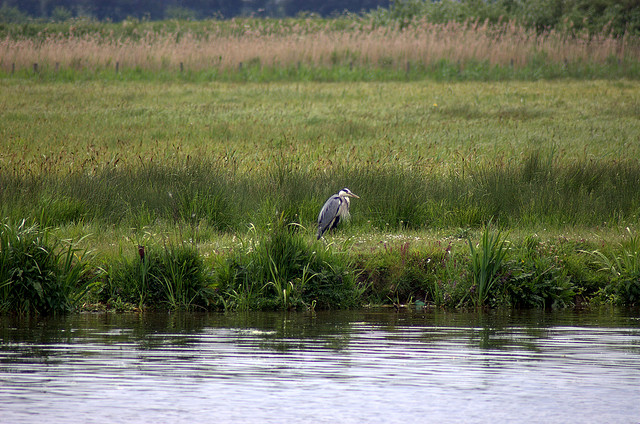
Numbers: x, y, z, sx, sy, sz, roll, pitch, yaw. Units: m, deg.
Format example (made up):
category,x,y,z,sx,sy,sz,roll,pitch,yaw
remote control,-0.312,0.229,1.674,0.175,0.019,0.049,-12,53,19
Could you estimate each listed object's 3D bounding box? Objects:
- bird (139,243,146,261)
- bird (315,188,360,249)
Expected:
category,x,y,z,sx,sy,sz,roll,pitch,yaw
bird,-3.889,0.852,28.447,0.142,0.321,0.232,-2,8,-9
bird,0.306,0.019,30.899,0.630,1.008,2.242,1,9,17
